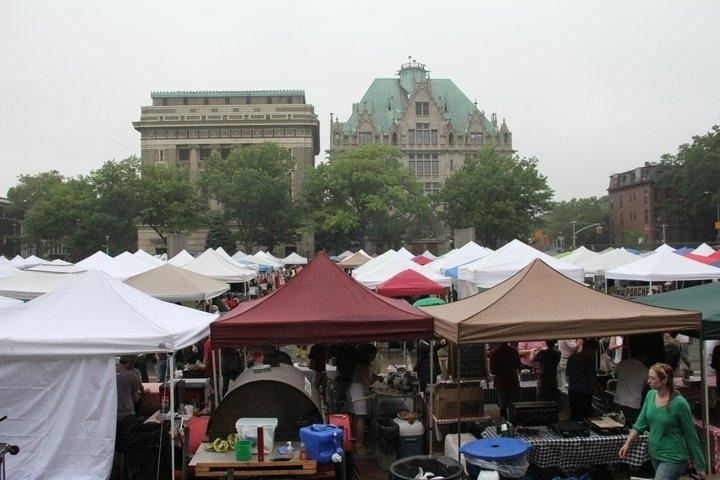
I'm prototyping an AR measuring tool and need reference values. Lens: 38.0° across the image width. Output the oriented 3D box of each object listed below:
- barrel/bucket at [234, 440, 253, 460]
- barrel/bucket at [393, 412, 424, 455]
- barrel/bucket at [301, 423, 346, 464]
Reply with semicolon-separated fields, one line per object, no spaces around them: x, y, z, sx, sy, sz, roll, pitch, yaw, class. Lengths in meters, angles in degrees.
-3.941;7.161;35.505;0.506;0.453;0.638;-1;-9;-2;barrel/bucket
1.482;7.183;38.272;1.081;1.379;1.990;-1;4;-22;barrel/bucket
-1.271;6.959;36.151;1.349;1.314;1.633;-1;-4;-2;barrel/bucket
